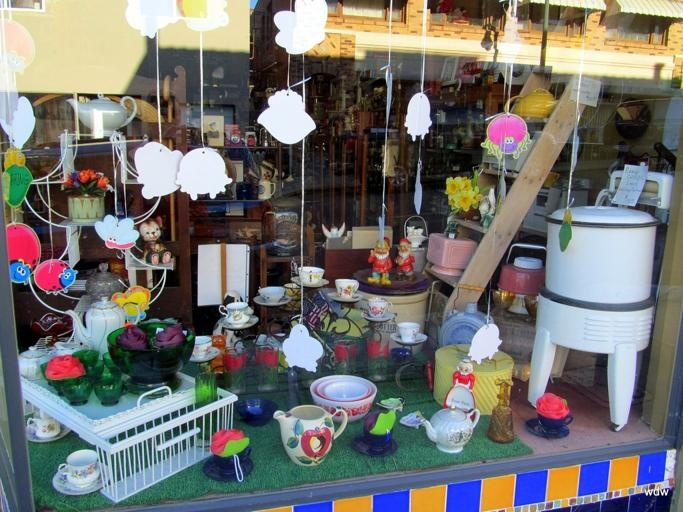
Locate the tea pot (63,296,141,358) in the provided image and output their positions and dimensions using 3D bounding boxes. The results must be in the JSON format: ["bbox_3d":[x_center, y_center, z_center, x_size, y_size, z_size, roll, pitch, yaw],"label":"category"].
[{"bbox_3d":[-1.000,0.293,2.160,0.175,0.248,0.246,3,5,36],"label":"tea pot"}]

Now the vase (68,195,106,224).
[{"bbox_3d":[-1.176,-0.209,2.417,0.131,0.119,0.135,3,5,24],"label":"vase"}]

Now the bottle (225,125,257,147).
[{"bbox_3d":[-0.586,-0.686,3.002,0.150,0.085,0.103,5,-1,-4],"label":"bottle"}]

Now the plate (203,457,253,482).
[{"bbox_3d":[-0.428,0.786,1.959,0.183,0.087,0.079,0,15,1],"label":"plate"}]

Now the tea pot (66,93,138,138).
[{"bbox_3d":[-1.126,-0.654,2.475,0.285,0.202,0.267,0,15,0],"label":"tea pot"}]

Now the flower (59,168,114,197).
[{"bbox_3d":[-1.168,-0.329,2.393,0.178,0.118,0.083,-3,15,-13],"label":"flower"}]

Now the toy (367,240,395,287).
[{"bbox_3d":[0.209,0.030,2.807,0.128,0.251,0.113,1,9,-3],"label":"toy"}]

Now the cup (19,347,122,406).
[{"bbox_3d":[-1.003,0.455,1.944,0.198,0.115,0.242,0,14,-16],"label":"cup"}]

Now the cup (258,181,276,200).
[{"bbox_3d":[-0.476,-0.415,3.302,0.136,0.137,0.087,2,5,-2],"label":"cup"}]

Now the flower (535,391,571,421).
[{"bbox_3d":[0.906,0.653,2.255,0.119,0.069,0.113,6,20,17],"label":"flower"}]

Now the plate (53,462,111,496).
[{"bbox_3d":[-0.955,0.806,1.889,0.190,0.073,0.083,2,15,9],"label":"plate"}]

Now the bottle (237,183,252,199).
[{"bbox_3d":[-0.621,-0.421,3.394,0.096,0.111,0.098,1,6,-7],"label":"bottle"}]

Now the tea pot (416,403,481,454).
[{"bbox_3d":[0.452,0.712,2.174,0.282,0.173,0.178,-3,8,-20],"label":"tea pot"}]

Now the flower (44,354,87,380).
[{"bbox_3d":[-1.010,0.410,1.917,0.094,0.050,0.108,3,7,-4],"label":"flower"}]

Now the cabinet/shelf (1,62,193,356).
[{"bbox_3d":[-1.017,-0.231,2.721,1.137,1.098,0.280,-7,6,-35],"label":"cabinet/shelf"}]

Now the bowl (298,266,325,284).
[{"bbox_3d":[-0.159,0.087,2.736,0.122,0.081,0.163,-2,15,-7],"label":"bowl"}]

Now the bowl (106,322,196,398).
[{"bbox_3d":[-0.740,0.422,2.054,0.319,0.201,0.320,-3,-13,-1],"label":"bowl"}]

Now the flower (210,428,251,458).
[{"bbox_3d":[-0.424,0.673,1.937,0.109,0.043,0.109,-2,3,-28],"label":"flower"}]

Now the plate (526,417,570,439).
[{"bbox_3d":[0.890,0.747,2.279,0.117,0.049,0.120,-2,0,40],"label":"plate"}]

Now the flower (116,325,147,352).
[{"bbox_3d":[-0.777,0.305,1.953,0.086,0.089,0.042,12,-28,-1],"label":"flower"}]

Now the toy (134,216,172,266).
[{"bbox_3d":[-0.946,-0.071,2.673,0.168,0.224,0.212,-10,18,-34],"label":"toy"}]

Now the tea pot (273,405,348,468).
[{"bbox_3d":[-0.118,0.714,2.070,0.285,0.214,0.199,-1,2,-17],"label":"tea pot"}]

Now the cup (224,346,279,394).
[{"bbox_3d":[-0.402,0.516,2.363,0.298,0.206,0.173,0,-1,-19],"label":"cup"}]
